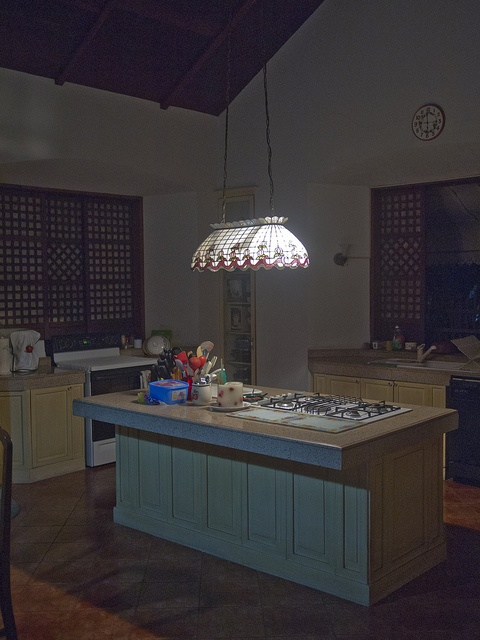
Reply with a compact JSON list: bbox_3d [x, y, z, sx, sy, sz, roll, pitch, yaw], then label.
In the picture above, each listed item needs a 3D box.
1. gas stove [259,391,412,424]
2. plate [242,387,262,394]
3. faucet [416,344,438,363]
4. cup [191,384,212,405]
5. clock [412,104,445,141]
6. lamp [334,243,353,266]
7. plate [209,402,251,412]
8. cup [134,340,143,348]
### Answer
[{"bbox_3d":[0.468,0.447,2.684,0.534,0.078,0.710,2,-5,-43],"label":"gas stove"},{"bbox_3d":[0.069,0.438,3.202,0.096,0.016,0.101,0,2,24],"label":"plate"},{"bbox_3d":[1.709,0.305,4.739,0.174,0.238,0.163,0,3,13],"label":"faucet"},{"bbox_3d":[-0.225,0.415,2.949,0.103,0.111,0.108,-1,3,0],"label":"cup"},{"bbox_3d":[1.575,-1.647,4.279,0.044,0.366,0.322,-2,4,-38],"label":"clock"},{"bbox_3d":[1.026,-0.657,5.170,0.196,0.300,0.175,1,4,5],"label":"lamp"},{"bbox_3d":[-0.059,0.463,2.751,0.229,0.041,0.203,-1,-4,1],"label":"plate"},{"bbox_3d":[-1.160,0.269,5.826,0.085,0.108,0.090,1,5,0],"label":"cup"}]
